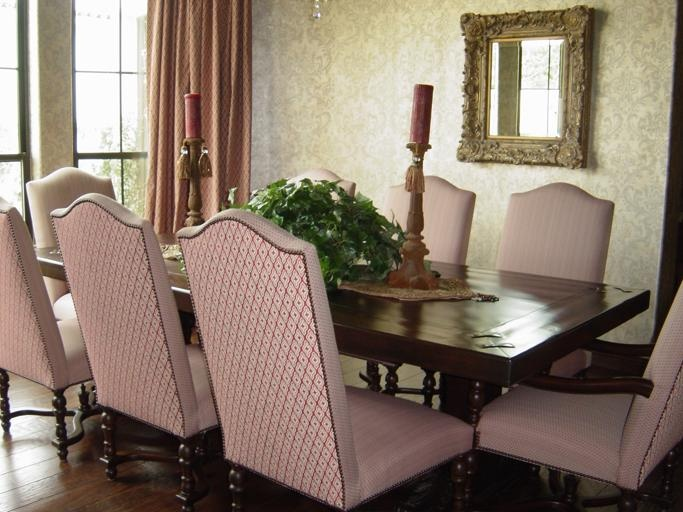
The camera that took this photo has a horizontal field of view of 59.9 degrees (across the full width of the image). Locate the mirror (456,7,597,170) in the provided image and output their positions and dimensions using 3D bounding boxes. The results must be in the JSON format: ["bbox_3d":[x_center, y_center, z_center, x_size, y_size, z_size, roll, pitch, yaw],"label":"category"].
[{"bbox_3d":[1.345,-1.194,4.176,1.133,1.330,0.156,4,6,34],"label":"mirror"}]

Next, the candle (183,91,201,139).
[{"bbox_3d":[-0.709,-0.662,2.818,0.073,0.210,0.177,-3,14,-15],"label":"candle"}]
